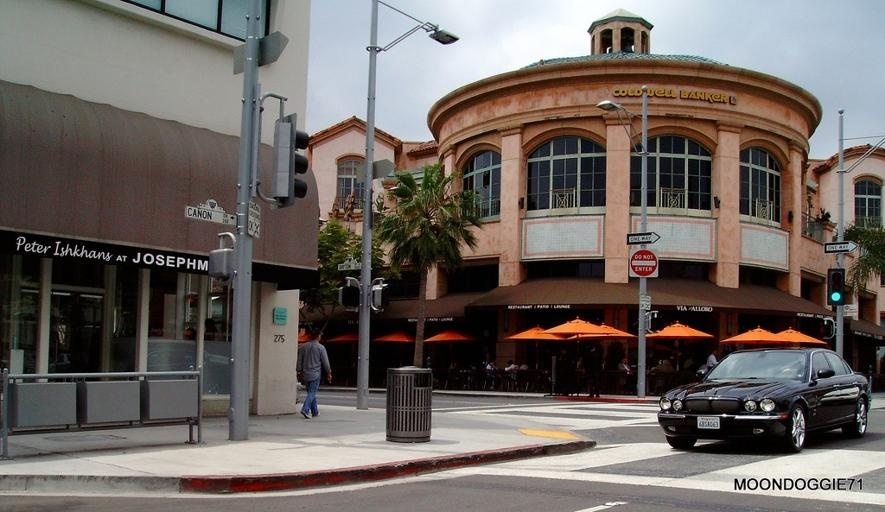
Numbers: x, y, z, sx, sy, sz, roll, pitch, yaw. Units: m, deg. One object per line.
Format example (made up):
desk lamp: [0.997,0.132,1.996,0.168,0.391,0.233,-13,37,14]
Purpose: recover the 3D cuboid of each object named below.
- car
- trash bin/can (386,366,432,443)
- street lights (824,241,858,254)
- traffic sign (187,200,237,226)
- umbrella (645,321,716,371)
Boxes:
car: [8.547,3.674,24.444,7.963,2.303,2.890,4,-5,-44]
trash bin/can: [-0.818,3.895,24.961,1.171,1.909,1.204,4,-5,-35]
street lights: [16.644,-0.412,39.490,0.149,0.443,0.979,29,-27,-27]
traffic sign: [-5.953,-1.214,24.298,1.376,0.615,0.344,9,-15,-36]
umbrella: [10.960,4.192,44.153,2.419,2.165,1.666,3,0,-6]
